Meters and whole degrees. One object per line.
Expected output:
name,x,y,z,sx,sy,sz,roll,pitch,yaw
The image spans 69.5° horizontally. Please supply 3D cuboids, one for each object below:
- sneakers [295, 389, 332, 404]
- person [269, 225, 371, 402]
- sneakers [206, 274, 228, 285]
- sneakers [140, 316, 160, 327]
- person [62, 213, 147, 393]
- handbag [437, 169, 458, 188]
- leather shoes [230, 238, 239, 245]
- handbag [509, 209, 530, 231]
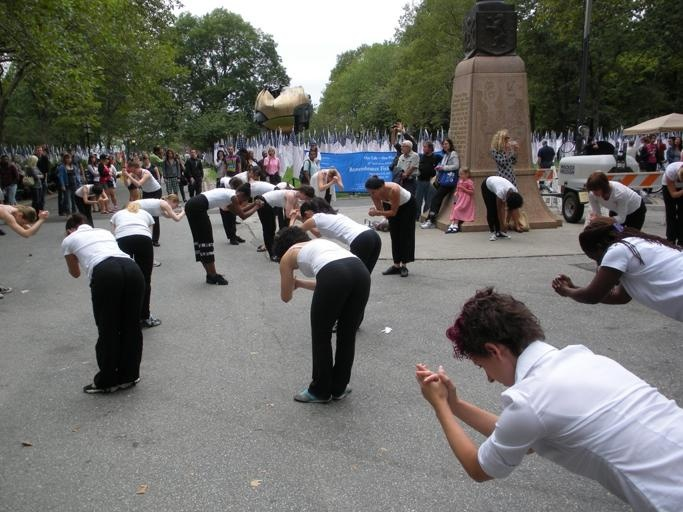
sneakers,-0.272,1.364,4.730,0.325,0.151,0.146,6,-3,5
person,-0.186,0.579,4.676,0.838,1.625,0.500,3,15,23
sneakers,-2.254,0.415,8.833,0.463,0.220,0.167,2,2,12
sneakers,-2.637,0.905,6.811,0.263,0.121,0.088,-11,16,-41
person,-2.447,0.586,5.082,0.680,1.532,0.708,-16,19,-42
handbag,2.871,-2.082,13.414,0.701,0.548,0.401,11,8,31
leather shoes,-2.723,-0.347,12.484,0.216,0.121,0.244,-6,15,-11
handbag,4.576,-0.908,12.743,0.511,0.590,0.303,-1,9,-1
